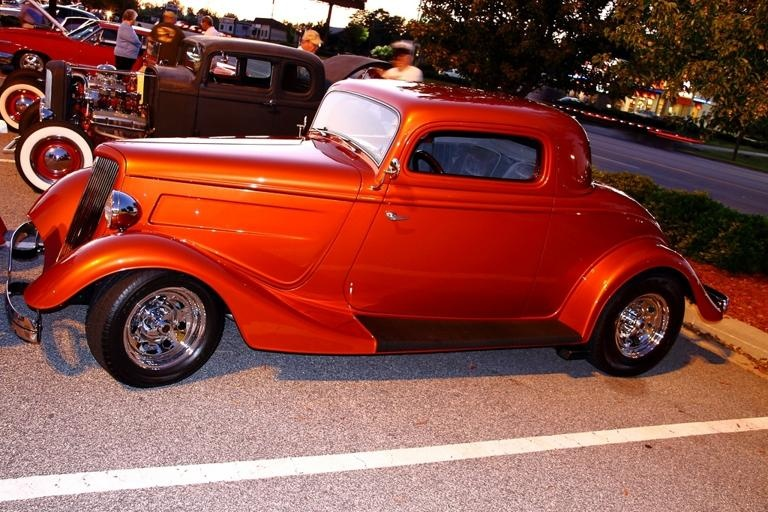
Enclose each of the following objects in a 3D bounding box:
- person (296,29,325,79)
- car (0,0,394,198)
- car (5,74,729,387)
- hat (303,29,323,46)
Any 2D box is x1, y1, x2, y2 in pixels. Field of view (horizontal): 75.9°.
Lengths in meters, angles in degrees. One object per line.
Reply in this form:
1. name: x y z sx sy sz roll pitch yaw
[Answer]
1. person: -1.601 -4.517 10.590 0.452 0.907 0.436 24 44 -10
2. car: -3.706 -2.775 8.816 5.636 2.407 2.782 4 20 -20
3. car: -0.095 -0.241 4.641 6.120 2.738 1.524 6 22 -14
4. hat: -1.523 -4.658 10.452 0.317 0.338 0.429 22 22 36
